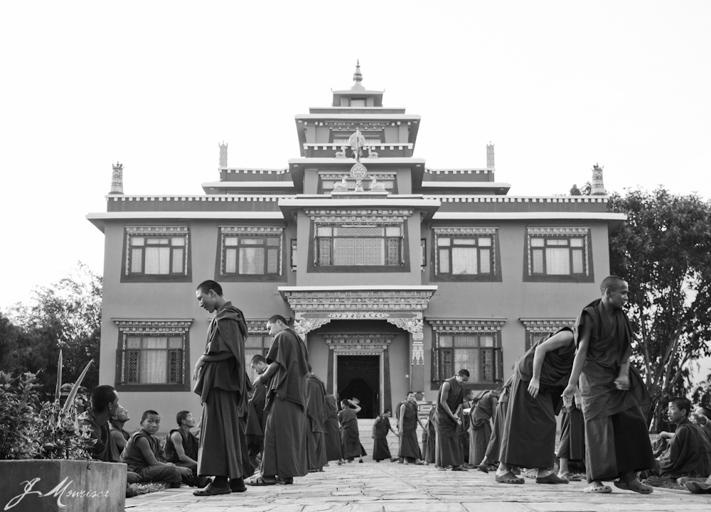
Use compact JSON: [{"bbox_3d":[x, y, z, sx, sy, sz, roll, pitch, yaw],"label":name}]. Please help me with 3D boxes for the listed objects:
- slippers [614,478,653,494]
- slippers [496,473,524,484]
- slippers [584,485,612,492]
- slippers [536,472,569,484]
[{"bbox_3d":[3.929,3.224,16.680,0.543,0.217,0.399,-5,-12,20],"label":"slippers"},{"bbox_3d":[2.346,3.327,17.836,0.301,0.117,0.182,-9,-7,34],"label":"slippers"},{"bbox_3d":[3.427,3.247,16.598,0.374,0.118,0.321,-3,-11,10],"label":"slippers"},{"bbox_3d":[2.992,3.333,17.890,0.517,0.220,0.189,0,-2,-9],"label":"slippers"}]
